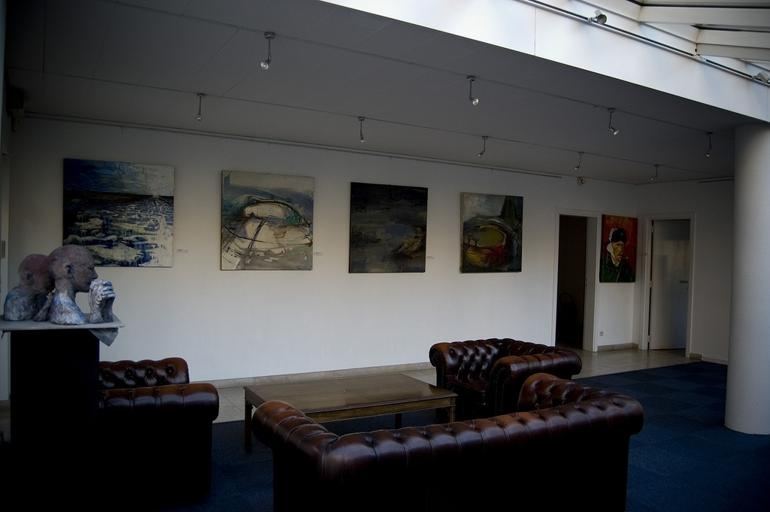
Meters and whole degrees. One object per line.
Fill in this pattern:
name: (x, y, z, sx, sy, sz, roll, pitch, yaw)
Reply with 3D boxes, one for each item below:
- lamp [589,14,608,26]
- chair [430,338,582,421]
lamp: (2.197, -2.439, 5.435, 0.104, 0.106, 0.177, -5, 24, -7)
chair: (1.491, 1.501, 6.762, 1.072, 0.827, 1.438, 3, -3, -28)
